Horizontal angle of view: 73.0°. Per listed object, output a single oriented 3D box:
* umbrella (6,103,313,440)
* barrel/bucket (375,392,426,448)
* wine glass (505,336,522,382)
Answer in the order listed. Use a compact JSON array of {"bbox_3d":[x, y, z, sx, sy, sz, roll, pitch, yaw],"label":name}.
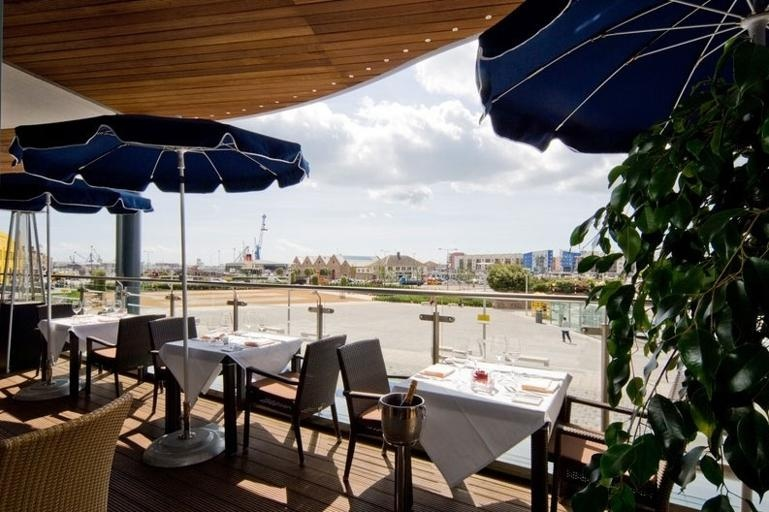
[{"bbox_3d":[-1.847,0.174,5.016,2.730,2.871,2.692,-1,-3,-39],"label":"umbrella"},{"bbox_3d":[0.119,0.944,2.956,0.256,0.247,0.307,-3,-7,37],"label":"barrel/bucket"},{"bbox_3d":[0.999,0.735,4.075,0.109,0.183,0.219,1,8,13],"label":"wine glass"}]
